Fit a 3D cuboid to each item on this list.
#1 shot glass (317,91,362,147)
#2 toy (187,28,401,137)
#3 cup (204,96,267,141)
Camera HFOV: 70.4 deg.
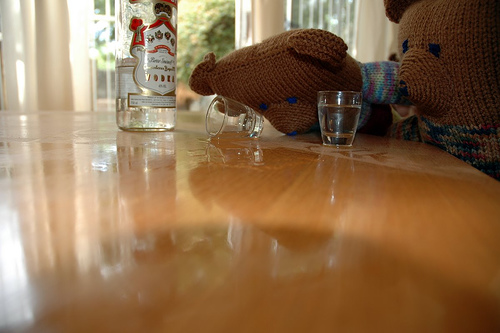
[{"bbox_3d":[0.136,-0.078,0.568,0.074,0.091,0.078,-2,11,-15],"label":"shot glass"},{"bbox_3d":[0.120,-0.157,0.767,0.400,0.181,0.454,-9,-4,40],"label":"toy"},{"bbox_3d":[-0.033,-0.063,0.585,0.103,0.073,0.069,10,-28,-35],"label":"cup"}]
